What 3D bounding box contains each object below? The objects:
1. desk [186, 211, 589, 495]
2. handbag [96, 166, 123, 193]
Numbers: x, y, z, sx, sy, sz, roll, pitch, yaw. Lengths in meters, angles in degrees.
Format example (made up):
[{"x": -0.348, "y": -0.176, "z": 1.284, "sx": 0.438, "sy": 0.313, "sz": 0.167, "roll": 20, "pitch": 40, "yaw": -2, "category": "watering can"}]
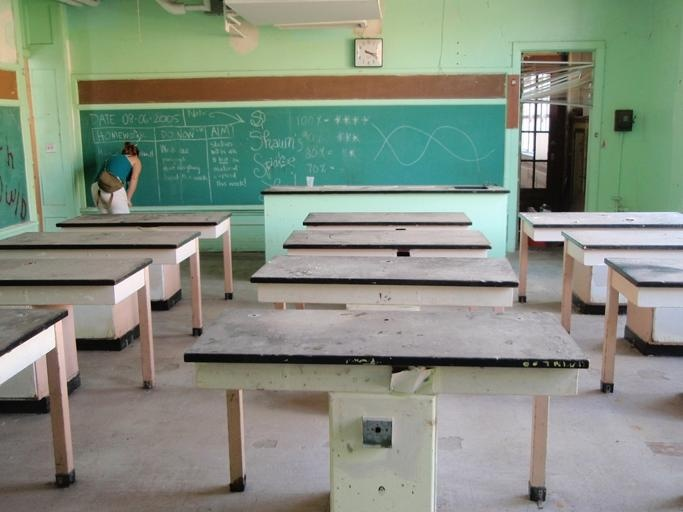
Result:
[{"x": 0.259, "y": 0.630, "z": 3.088, "sx": 1.609, "sy": 0.955, "sz": 1.460, "roll": -2, "pitch": 14, "yaw": 6, "category": "desk"}, {"x": -2.729, "y": -0.860, "z": 6.682, "sx": 0.178, "sy": 0.286, "sz": 0.210, "roll": -43, "pitch": 0, "yaw": 10, "category": "handbag"}]
